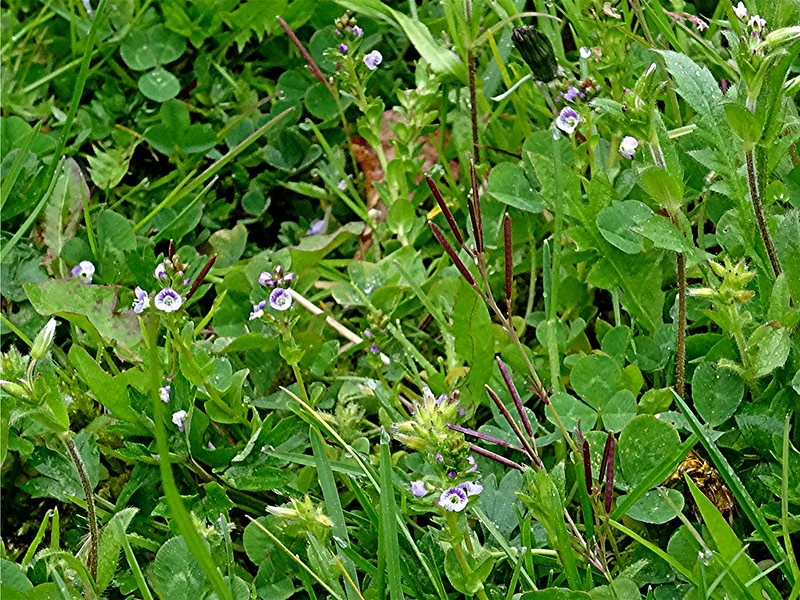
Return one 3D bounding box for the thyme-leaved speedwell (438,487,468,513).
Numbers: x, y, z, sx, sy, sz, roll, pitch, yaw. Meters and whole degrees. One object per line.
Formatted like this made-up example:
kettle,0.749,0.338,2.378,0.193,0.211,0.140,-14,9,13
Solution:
thyme-leaved speedwell,0.085,0.316,1.511,0.049,0.037,0.038,9,69,4
